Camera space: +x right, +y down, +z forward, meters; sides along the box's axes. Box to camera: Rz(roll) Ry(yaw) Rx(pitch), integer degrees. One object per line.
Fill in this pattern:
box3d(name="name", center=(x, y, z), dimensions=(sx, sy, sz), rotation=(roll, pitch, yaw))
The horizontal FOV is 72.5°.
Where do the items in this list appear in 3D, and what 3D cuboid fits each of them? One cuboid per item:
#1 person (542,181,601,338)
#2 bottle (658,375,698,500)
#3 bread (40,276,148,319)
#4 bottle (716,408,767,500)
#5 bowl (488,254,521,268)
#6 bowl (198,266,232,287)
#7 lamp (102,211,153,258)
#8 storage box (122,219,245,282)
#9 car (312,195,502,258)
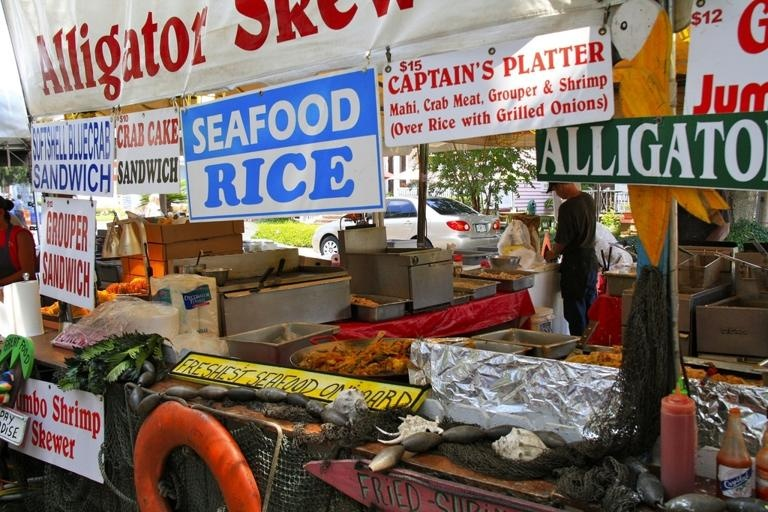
box3d(name="person", center=(2.296, 0.051, 6.426), dimensions=(0.556, 1.876, 0.757), rotation=(-1, 6, 20))
box3d(name="bottle", center=(1.047, 0.646, 1.884), dimensions=(0.115, 0.375, 0.210), rotation=(0, 6, 28))
box3d(name="bread", center=(-2.542, 0.359, 4.905), dimensions=(0.892, 0.202, 1.176), rotation=(-2, 5, 8))
box3d(name="bottle", center=(1.224, 0.677, 1.802), dimensions=(0.154, 0.325, 0.230), rotation=(-1, 6, 17))
box3d(name="bowl", center=(1.457, 0.076, 6.478), dimensions=(0.392, 0.167, 0.262), rotation=(-8, 7, -43))
box3d(name="bowl", center=(-1.308, 0.154, 4.172), dimensions=(0.172, 0.102, 0.183), rotation=(-2, -1, 0))
box3d(name="lamp", center=(-2.244, -0.183, 4.596), dimensions=(0.484, 0.385, 0.342), rotation=(1, 9, 28))
box3d(name="storage box", center=(-2.259, -0.162, 6.189), dimensions=(0.935, 0.572, 0.973), rotation=(3, 5, 43))
box3d(name="car", center=(0.761, -0.796, 14.593), dimensions=(4.575, 1.460, 2.096), rotation=(4, 5, 30))
